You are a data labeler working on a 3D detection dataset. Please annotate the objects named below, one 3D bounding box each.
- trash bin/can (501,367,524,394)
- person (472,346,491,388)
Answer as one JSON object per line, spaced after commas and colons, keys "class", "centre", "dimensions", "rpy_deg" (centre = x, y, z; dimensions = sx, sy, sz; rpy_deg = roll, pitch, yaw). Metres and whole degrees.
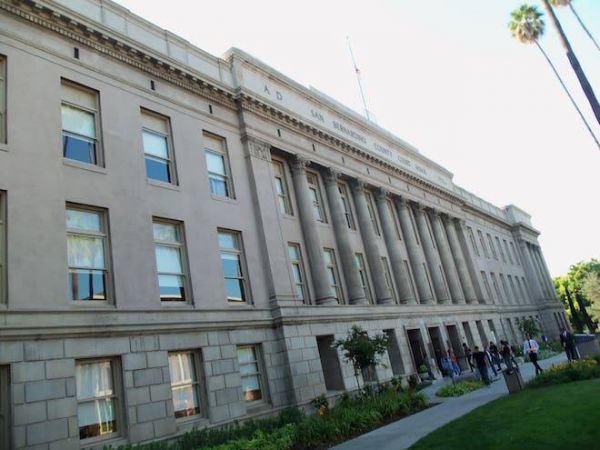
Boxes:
{"class": "trash bin/can", "centre": [9.684, 7.129, 17.514], "dimensions": [0.717, 0.994, 0.986], "rpy_deg": [-20, -22, 20]}
{"class": "person", "centre": [10.883, 8.597, 22.930], "dimensions": [0.582, 1.937, 0.889], "rpy_deg": [-17, -21, 13]}
